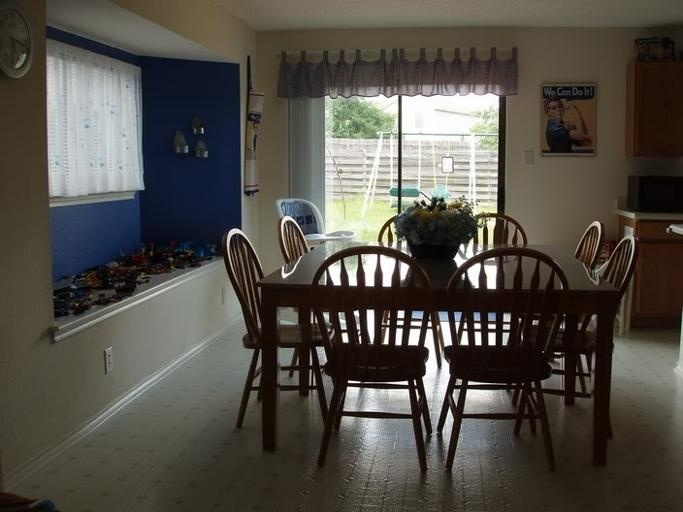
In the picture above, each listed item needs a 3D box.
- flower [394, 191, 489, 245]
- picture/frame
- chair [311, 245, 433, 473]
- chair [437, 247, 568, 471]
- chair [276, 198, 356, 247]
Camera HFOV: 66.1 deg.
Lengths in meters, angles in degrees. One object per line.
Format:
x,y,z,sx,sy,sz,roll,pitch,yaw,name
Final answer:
0.578,-0.227,3.215,0.372,0.211,0.314,-1,5,-9,flower
2.319,-1.427,5.327,0.642,0.980,0.096,1,3,9,picture/frame
0.211,0.407,3.203,0.671,1.181,1.506,1,10,4,chair
0.878,0.459,2.909,0.626,1.176,1.072,3,10,21,chair
-0.284,-0.401,5.405,0.596,0.845,0.518,2,7,36,chair
